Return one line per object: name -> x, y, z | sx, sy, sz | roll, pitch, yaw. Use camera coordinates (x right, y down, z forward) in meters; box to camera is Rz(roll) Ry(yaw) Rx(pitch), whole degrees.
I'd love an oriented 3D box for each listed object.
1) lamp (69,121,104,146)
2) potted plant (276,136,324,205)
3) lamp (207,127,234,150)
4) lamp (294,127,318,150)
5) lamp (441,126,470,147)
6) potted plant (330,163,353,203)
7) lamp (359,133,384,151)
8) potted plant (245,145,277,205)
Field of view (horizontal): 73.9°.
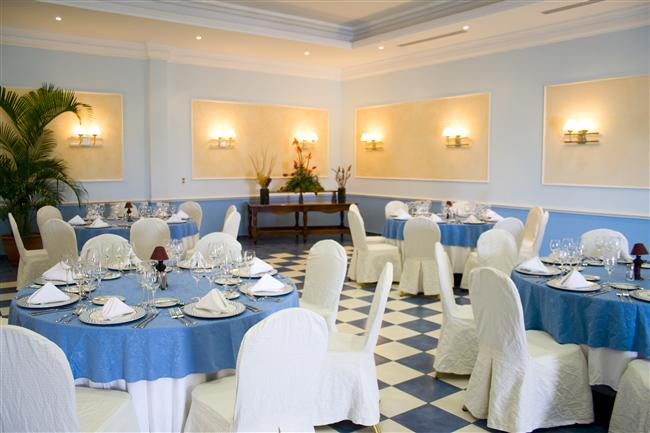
lamp -> -4.695, -1.587, 8.606 | 0.396, 0.514, 0.619 | 4, 6, 24
potted plant -> -0.666, -1.130, 10.668 | 1.367, 1.597, 1.437 | 4, 8, 31
lamp -> -2.348, -1.756, 9.787 | 0.502, 0.490, 0.120 | -11, 27, -16
lamp -> -0.496, -1.949, 10.747 | 0.588, 0.563, 0.178 | -2, 4, -33
lamp -> 2.685, -1.647, 8.925 | 0.191, 0.458, 0.607 | -8, 13, -41
potted plant -> 0.457, -0.850, 10.894 | 0.478, 0.864, 1.161 | 1, 10, 1
lamp -> 1.110, -1.837, 10.604 | 0.265, 0.432, 0.666 | -7, 12, -37
potted plant -> -1.410, -0.958, 10.118 | 0.667, 1.216, 0.660 | -3, 10, -17
